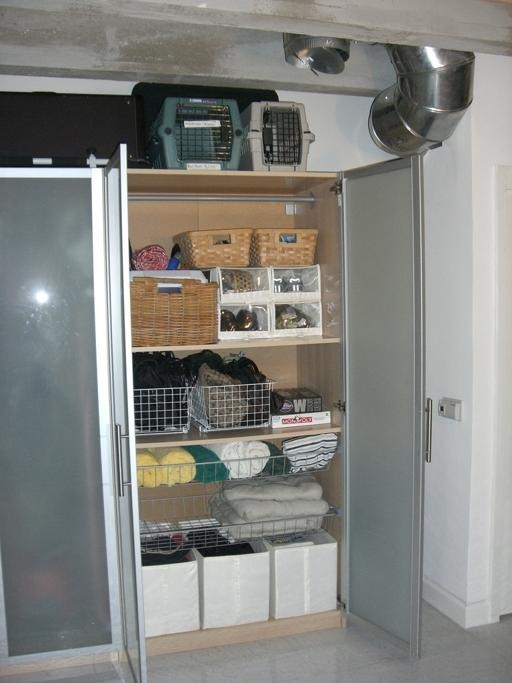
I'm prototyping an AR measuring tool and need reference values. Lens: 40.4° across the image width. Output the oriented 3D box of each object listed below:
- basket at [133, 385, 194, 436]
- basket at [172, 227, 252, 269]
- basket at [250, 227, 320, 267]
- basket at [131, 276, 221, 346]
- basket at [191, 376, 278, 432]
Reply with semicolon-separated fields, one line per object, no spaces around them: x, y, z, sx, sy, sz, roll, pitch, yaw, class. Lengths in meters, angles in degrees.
-0.373;0.283;2.818;0.224;0.151;0.206;-2;6;-14;basket
-0.158;-0.394;2.949;0.250;0.110;0.187;-6;6;-33;basket
0.138;-0.394;2.957;0.214;0.119;0.205;-2;7;-16;basket
-0.320;-0.121;2.719;0.468;0.287;0.245;-1;13;-13;basket
-0.075;0.243;2.888;0.253;0.150;0.245;-1;2;-19;basket
